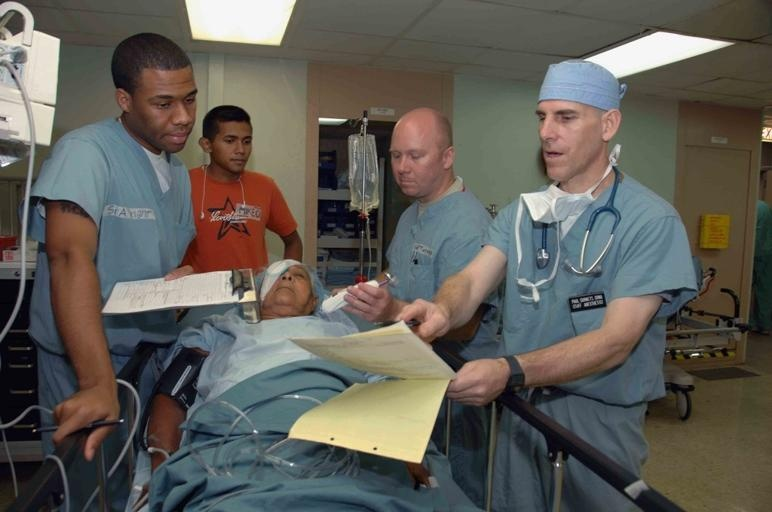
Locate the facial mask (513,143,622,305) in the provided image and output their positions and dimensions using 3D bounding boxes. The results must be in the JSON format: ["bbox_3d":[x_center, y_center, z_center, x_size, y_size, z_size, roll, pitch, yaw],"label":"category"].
[{"bbox_3d":[0.862,-0.078,2.532,0.598,0.668,0.329,-7,-15,36],"label":"facial mask"}]
